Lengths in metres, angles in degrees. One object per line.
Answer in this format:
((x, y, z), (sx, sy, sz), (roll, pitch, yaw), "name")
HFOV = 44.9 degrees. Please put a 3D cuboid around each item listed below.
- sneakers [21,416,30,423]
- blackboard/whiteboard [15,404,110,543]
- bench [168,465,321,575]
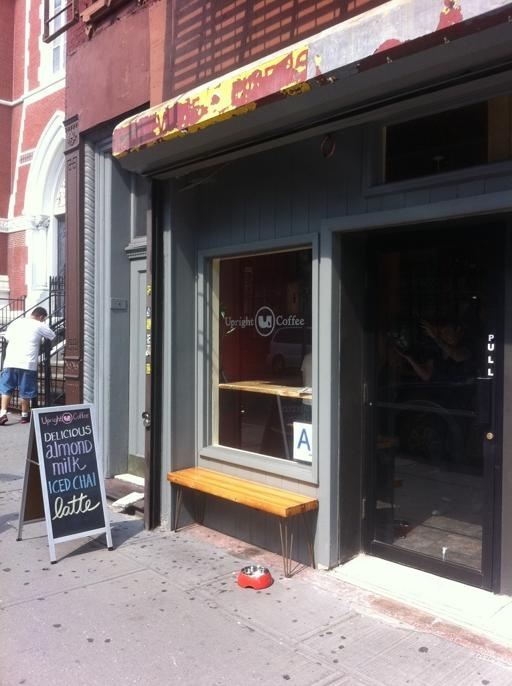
((-3.536, 1.148, 9.395), (0.061, 0.096, 0.192), (2, 2, -12), "sneakers")
((-1.390, 0.881, 4.421), (0.524, 0.809, 0.549), (-1, 0, -35), "blackboard/whiteboard")
((-0.128, 1.225, 4.394), (0.394, 0.636, 1.336), (-1, 1, -41), "bench")
